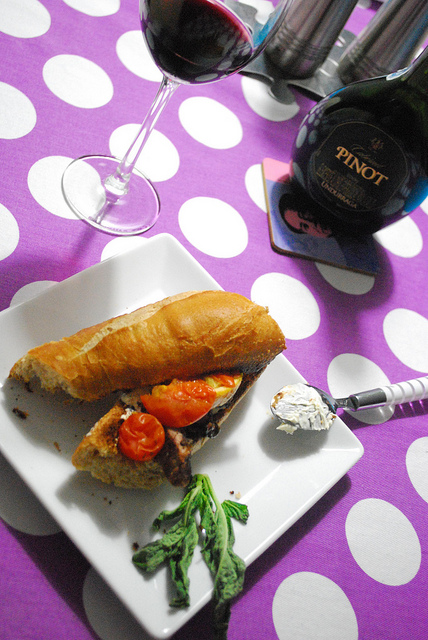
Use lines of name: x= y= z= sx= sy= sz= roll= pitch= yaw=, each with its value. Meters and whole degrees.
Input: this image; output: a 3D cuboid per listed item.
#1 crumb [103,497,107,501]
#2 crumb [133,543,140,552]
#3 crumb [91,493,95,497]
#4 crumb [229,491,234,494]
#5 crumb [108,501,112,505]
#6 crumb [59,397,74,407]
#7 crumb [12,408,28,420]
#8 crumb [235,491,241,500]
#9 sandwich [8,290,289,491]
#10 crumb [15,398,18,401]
crumb: x=-0.103 y=0.169 z=0.549 sx=0.002 sy=0.001 sz=0.003 roll=1 pitch=56 yaw=-25
crumb: x=-0.070 y=0.207 z=0.527 sx=0.005 sy=0.001 sz=0.005 roll=16 pitch=48 yaw=-35
crumb: x=-0.114 y=0.164 z=0.544 sx=0.002 sy=0.001 sz=0.002 roll=14 pitch=54 yaw=-11
crumb: x=0.017 y=0.179 z=0.601 sx=0.003 sy=0.002 sz=0.002 roll=3 pitch=21 yaw=14
crumb: x=-0.099 y=0.172 z=0.549 sx=0.003 sy=0.001 sz=0.003 roll=3 pitch=55 yaw=-24
crumb: x=-0.150 y=0.084 z=0.588 sx=0.010 sy=0.002 sz=0.006 roll=-18 pitch=82 yaw=-35
crumb: x=-0.185 y=0.090 z=0.555 sx=0.015 sy=0.006 sz=0.008 roll=23 pitch=50 yaw=-9
crumb: x=0.024 y=0.182 z=0.602 sx=0.006 sy=0.002 sz=0.006 roll=4 pitch=60 yaw=-22
sandwich: x=-0.053 y=0.055 z=0.609 sx=0.196 sy=0.089 sz=0.267 roll=44 pitch=49 yaw=9
crumb: x=-0.191 y=0.077 z=0.561 sx=0.002 sy=0.001 sz=0.002 roll=2 pitch=66 yaw=-16
